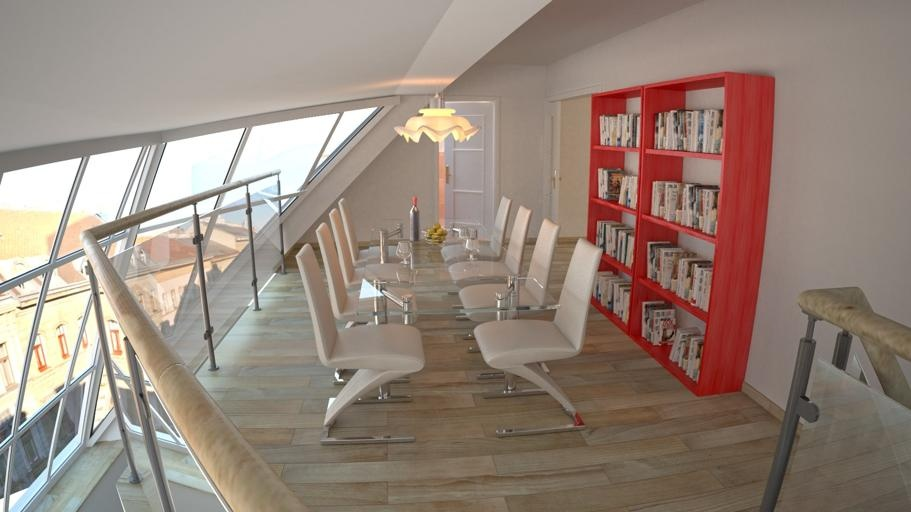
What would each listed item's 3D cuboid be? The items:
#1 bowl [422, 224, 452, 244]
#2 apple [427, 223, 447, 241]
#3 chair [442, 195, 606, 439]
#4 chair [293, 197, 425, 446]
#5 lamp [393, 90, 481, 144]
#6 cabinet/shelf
[{"bbox_3d":[-0.211,-0.230,5.817,0.252,0.129,0.243,1,6,0],"label":"bowl"},{"bbox_3d":[-0.208,-0.246,5.769,0.201,0.121,0.194,-2,5,-38],"label":"apple"},{"bbox_3d":[0.627,0.626,4.850,1.168,1.547,1.221,-2,14,-1],"label":"chair"},{"bbox_3d":[-0.832,0.673,4.670,0.919,1.581,1.193,-6,14,-16],"label":"chair"},{"bbox_3d":[-0.241,-1.414,5.678,0.796,0.448,0.808,6,5,40],"label":"lamp"},{"bbox_3d":[2.227,-0.355,5.739,0.805,2.866,2.446,-5,14,-10],"label":"cabinet/shelf"}]
